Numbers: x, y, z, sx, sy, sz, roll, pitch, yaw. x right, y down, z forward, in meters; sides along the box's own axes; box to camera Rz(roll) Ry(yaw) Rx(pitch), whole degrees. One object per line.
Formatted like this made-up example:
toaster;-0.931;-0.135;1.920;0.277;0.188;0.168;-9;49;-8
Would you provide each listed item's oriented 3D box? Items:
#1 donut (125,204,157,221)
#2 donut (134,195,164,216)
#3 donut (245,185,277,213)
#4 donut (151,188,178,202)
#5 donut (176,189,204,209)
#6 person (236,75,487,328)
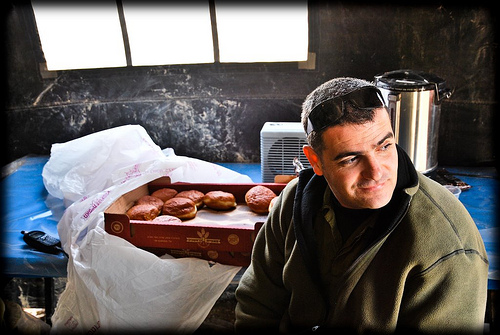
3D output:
donut;-0.534;0.223;1.805;0.133;0.058;0.125;-3;12;5
donut;-0.514;0.179;1.886;0.106;0.048;0.097;5;21;-3
donut;0.053;0.146;1.901;0.156;0.055;0.202;-21;34;-14
donut;-0.459;0.139;1.973;0.082;0.038;0.084;-8;6;-41
donut;-0.308;0.146;1.934;0.111;0.052;0.115;17;23;36
person;0.318;0.145;1.182;0.785;0.849;0.282;2;15;27
